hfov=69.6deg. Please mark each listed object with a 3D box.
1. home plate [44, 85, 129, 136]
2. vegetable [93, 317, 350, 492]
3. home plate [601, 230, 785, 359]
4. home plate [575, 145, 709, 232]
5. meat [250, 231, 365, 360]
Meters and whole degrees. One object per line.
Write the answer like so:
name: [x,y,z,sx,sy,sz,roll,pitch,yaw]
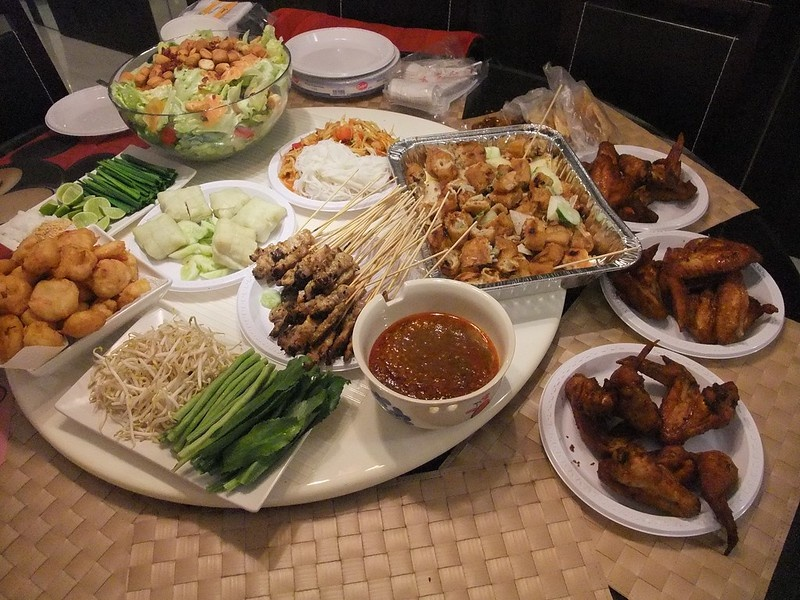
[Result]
home plate: [-2.515,-1.497,4.617,0.581,0.100,0.608,-1,44,-8]
vegetable: [-0.901,0.523,2.881,0.923,0.199,0.771,39,71,26]
home plate: [1.628,0.104,3.305,0.806,0.188,0.822,27,63,26]
home plate: [1.667,-0.789,3.897,0.697,0.234,0.714,-29,24,-24]
meat: [-0.425,-0.015,3.139,0.568,0.202,0.666,10,71,36]
